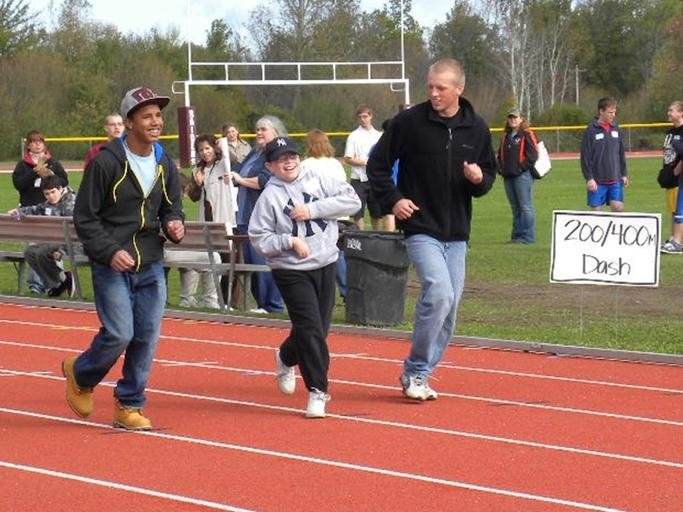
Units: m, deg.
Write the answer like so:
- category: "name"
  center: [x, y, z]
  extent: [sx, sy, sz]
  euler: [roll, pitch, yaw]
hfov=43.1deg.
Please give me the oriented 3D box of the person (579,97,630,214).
- category: "person"
  center: [4.222, -1.626, 13.881]
  extent: [0.743, 1.800, 0.713]
  euler: [0, 9, 3]

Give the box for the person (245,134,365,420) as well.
- category: "person"
  center: [-0.285, 0.149, 6.766]
  extent: [0.836, 2.135, 0.759]
  euler: [-1, 8, 0]

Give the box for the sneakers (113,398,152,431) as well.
- category: "sneakers"
  center: [-1.534, 1.171, 6.344]
  extent: [0.369, 0.251, 0.136]
  euler: [0, -1, 28]

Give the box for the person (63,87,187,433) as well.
- category: "person"
  center: [-1.542, 0.038, 6.188]
  extent: [0.879, 2.440, 0.505]
  euler: [-3, 9, -18]

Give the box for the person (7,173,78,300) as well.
- category: "person"
  center: [-4.061, -0.263, 11.933]
  extent: [1.098, 1.504, 0.744]
  euler: [6, 4, 1]

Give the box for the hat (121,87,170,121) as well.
- category: "hat"
  center: [-1.396, -1.103, 6.101]
  extent: [0.371, 0.179, 0.253]
  euler: [-14, 2, 36]

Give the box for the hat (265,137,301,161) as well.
- category: "hat"
  center: [-0.449, -0.819, 6.624]
  extent: [0.176, 0.129, 0.229]
  euler: [-13, -7, -26]

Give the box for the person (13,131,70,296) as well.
- category: "person"
  center: [-4.433, -0.705, 12.948]
  extent: [0.863, 2.292, 0.690]
  euler: [-5, 2, -19]

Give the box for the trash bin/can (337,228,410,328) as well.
- category: "trash bin/can"
  center: [0.429, 0.252, 9.984]
  extent: [0.825, 1.020, 1.001]
  euler: [3, 1, -24]

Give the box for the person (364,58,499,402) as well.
- category: "person"
  center: [0.715, -0.181, 6.902]
  extent: [1.023, 2.723, 0.567]
  euler: [0, 9, 8]

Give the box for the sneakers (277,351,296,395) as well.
- category: "sneakers"
  center: [-0.433, 0.961, 7.184]
  extent: [0.150, 0.367, 0.142]
  euler: [6, 22, 38]

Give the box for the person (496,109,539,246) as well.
- category: "person"
  center: [3.154, -1.415, 15.356]
  extent: [0.665, 2.324, 0.865]
  euler: [1, 9, 10]

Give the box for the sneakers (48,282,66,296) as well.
- category: "sneakers"
  center: [-3.911, 0.463, 11.940]
  extent: [0.122, 0.139, 0.329]
  euler: [2, 7, -26]
